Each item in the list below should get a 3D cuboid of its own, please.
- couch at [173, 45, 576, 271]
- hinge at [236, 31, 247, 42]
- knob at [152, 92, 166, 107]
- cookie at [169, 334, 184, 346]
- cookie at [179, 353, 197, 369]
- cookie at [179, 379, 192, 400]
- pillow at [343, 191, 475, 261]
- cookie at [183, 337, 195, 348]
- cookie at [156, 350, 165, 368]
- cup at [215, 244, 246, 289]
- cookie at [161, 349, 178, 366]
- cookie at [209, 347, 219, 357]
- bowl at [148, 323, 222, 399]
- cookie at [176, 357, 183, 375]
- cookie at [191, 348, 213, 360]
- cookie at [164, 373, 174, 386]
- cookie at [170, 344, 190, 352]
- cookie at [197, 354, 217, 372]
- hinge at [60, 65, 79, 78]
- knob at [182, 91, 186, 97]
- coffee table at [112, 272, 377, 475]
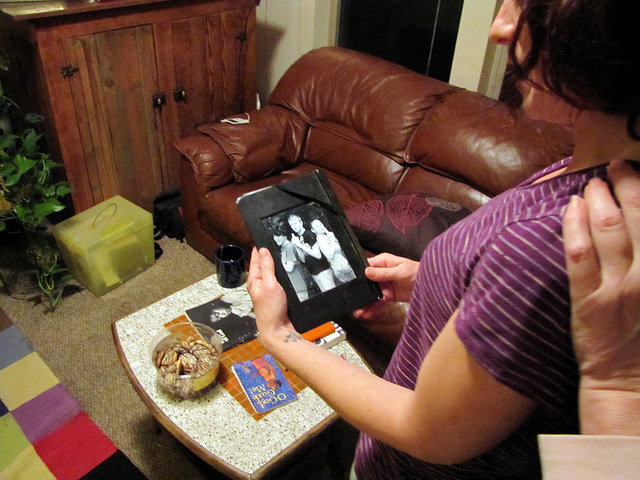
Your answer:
[{"bbox_3d":[0.153,-0.326,1.879,1.008,0.503,0.485,30,44,30],"label":"couch"},{"bbox_3d":[-0.456,-1.187,2.824,0.048,0.050,0.015,-4,8,-30],"label":"hinge"},{"bbox_3d":[-0.862,-0.752,2.573,0.031,0.058,0.061,42,48,16],"label":"knob"},{"bbox_3d":[-0.428,0.298,1.447,0.027,0.028,0.025,-16,63,-38],"label":"cookie"},{"bbox_3d":[-0.380,0.344,1.391,0.038,0.014,0.040,-32,62,-24],"label":"cookie"},{"bbox_3d":[-0.381,0.425,1.376,0.019,0.039,0.052,19,69,0],"label":"cookie"},{"bbox_3d":[0.356,-0.077,2.045,0.440,0.211,0.349,29,43,31],"label":"pillow"},{"bbox_3d":[-0.388,0.303,1.432,0.022,0.007,0.022,-26,46,-32],"label":"cookie"},{"bbox_3d":[-0.462,0.341,1.395,0.015,0.040,0.030,8,3,-8],"label":"cookie"},{"bbox_3d":[-0.334,0.100,1.799,0.110,0.120,0.140,0,36,-5],"label":"cup"},{"bbox_3d":[-0.432,0.339,1.390,0.031,0.013,0.043,36,61,19],"label":"cookie"},{"bbox_3d":[-0.314,0.333,1.431,0.019,0.007,0.019,-31,83,-13],"label":"cookie"},{"bbox_3d":[-0.396,0.351,1.444,0.197,0.126,0.201,2,36,-2],"label":"bowl"},{"bbox_3d":[-0.403,0.361,1.382,0.016,0.022,0.041,8,36,7],"label":"cookie"},{"bbox_3d":[-0.353,0.335,1.413,0.033,0.013,0.026,3,32,5],"label":"cookie"},{"bbox_3d":[-0.427,0.393,1.369,0.028,0.028,0.019,16,38,18],"label":"cookie"},{"bbox_3d":[-0.412,0.321,1.423,0.033,0.011,0.027,8,24,-7],"label":"cookie"},{"bbox_3d":[-0.328,0.354,1.397,0.050,0.010,0.056,2,36,-1],"label":"cookie"},{"bbox_3d":[-1.133,-0.763,2.179,0.047,0.049,0.014,-23,24,-26],"label":"hinge"},{"bbox_3d":[-0.753,-0.809,2.677,0.018,0.022,0.021,-7,63,-5],"label":"knob"},{"bbox_3d":[-0.285,0.355,1.687,0.896,0.542,0.732,20,37,-6],"label":"coffee table"}]
